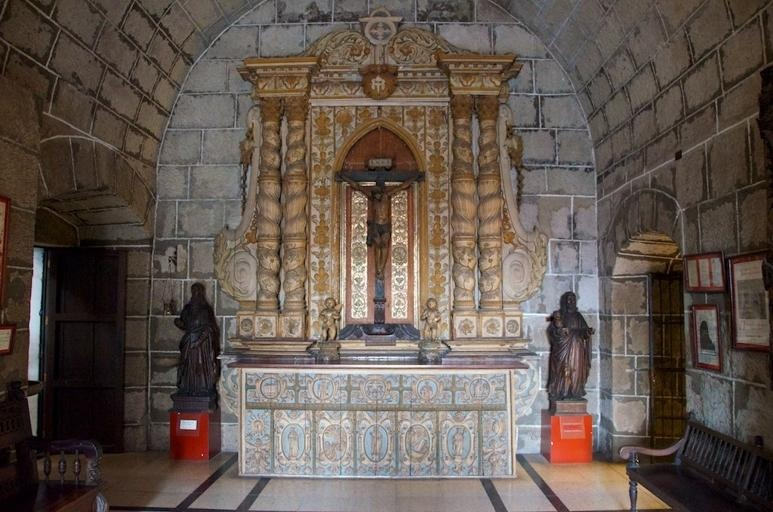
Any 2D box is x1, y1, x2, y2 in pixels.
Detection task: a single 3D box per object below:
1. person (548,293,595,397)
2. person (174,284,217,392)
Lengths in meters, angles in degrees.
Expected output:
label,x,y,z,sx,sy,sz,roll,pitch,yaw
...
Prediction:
label,x,y,z,sx,sy,sz,roll,pitch,yaw
person,2.544,1.282,10.140,0.513,1.404,0.637,4,14,38
person,-2.669,1.198,10.258,0.526,1.529,0.700,-4,11,7
